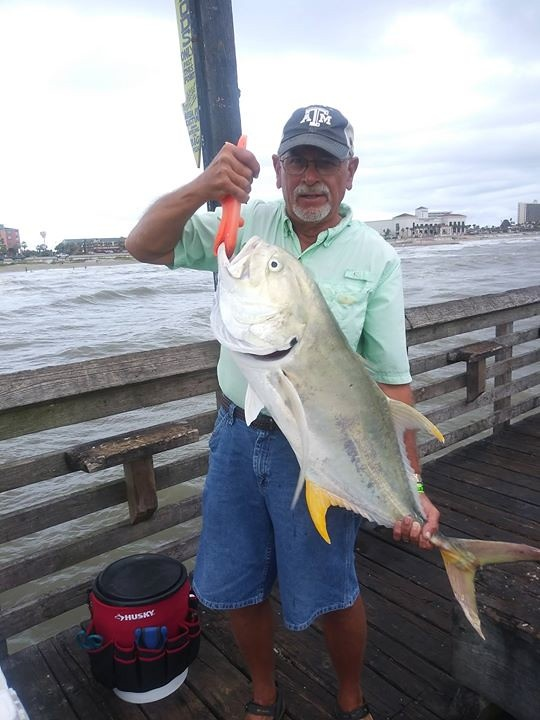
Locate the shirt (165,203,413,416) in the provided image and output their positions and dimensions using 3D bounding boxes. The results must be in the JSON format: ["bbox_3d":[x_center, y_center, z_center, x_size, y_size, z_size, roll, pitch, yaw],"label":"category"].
[{"bbox_3d":[0.071,-0.156,1.782,0.792,0.704,0.348,9,20,-1],"label":"shirt"}]

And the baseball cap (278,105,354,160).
[{"bbox_3d":[0.143,-0.709,1.588,0.238,0.174,0.153,-3,14,6],"label":"baseball cap"}]

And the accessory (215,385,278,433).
[{"bbox_3d":[-0.076,0.190,1.702,0.168,0.058,0.224,6,9,-35],"label":"accessory"}]
